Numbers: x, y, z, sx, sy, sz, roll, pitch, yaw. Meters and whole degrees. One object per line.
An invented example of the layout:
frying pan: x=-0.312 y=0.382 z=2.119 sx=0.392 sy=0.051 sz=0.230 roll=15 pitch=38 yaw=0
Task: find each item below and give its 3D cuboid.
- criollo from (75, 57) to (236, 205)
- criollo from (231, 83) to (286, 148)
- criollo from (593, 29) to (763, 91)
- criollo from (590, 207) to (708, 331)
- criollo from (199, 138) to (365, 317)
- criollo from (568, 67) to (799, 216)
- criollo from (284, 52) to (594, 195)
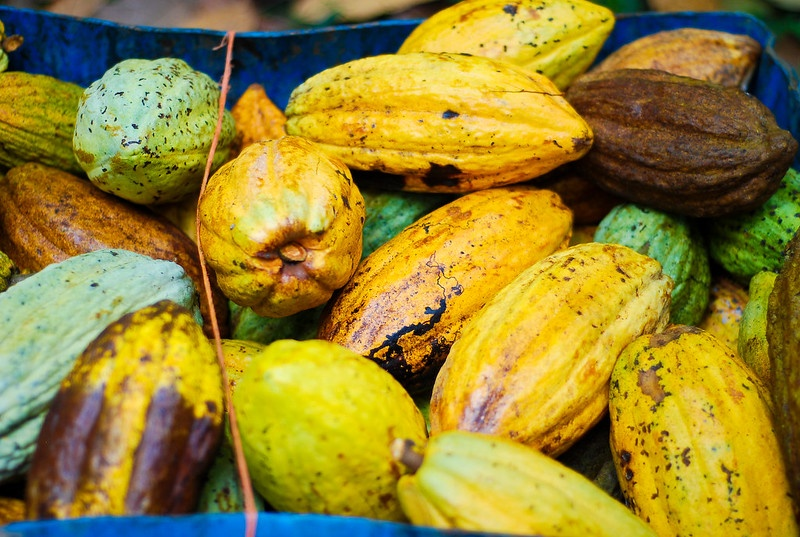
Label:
criollo: x=-0.709 y=-0.423 z=2.452 sx=0.366 sy=0.379 sz=0.470 roll=-27 pitch=7 yaw=31
criollo: x=-0.476 y=-0.461 z=2.637 sx=0.181 sy=0.151 sz=0.241 roll=1 pitch=77 yaw=-18
criollo: x=0.946 y=-0.716 z=2.673 sx=0.486 sy=0.171 sz=0.270 roll=-10 pitch=29 yaw=-8
criollo: x=0.750 y=-0.038 z=2.415 sx=0.308 sy=0.393 sz=0.295 roll=3 pitch=64 yaw=19
criollo: x=-0.311 y=-0.095 z=2.279 sx=0.421 sy=0.465 sz=0.493 roll=8 pitch=6 yaw=-7
criollo: x=0.840 y=-0.370 z=2.467 sx=0.626 sy=0.352 sz=0.363 roll=16 pitch=80 yaw=32
criollo: x=0.093 y=-0.426 z=2.341 sx=0.908 sy=0.333 sz=0.243 roll=5 pitch=42 yaw=9
